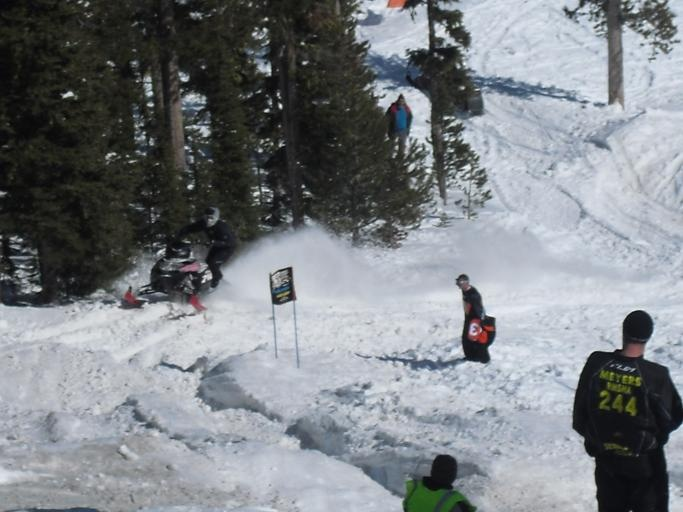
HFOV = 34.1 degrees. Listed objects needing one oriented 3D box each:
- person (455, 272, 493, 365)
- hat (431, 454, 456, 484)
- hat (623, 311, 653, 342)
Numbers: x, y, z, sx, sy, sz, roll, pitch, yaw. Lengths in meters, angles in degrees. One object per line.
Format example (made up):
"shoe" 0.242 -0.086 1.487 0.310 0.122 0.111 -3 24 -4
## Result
"person" 3.765 1.709 30.796 0.928 2.431 0.606 -4 8 2
"hat" 2.225 4.670 24.505 0.521 0.546 0.672 11 -3 31
"hat" 6.807 1.541 25.411 0.617 0.746 0.761 9 40 18
